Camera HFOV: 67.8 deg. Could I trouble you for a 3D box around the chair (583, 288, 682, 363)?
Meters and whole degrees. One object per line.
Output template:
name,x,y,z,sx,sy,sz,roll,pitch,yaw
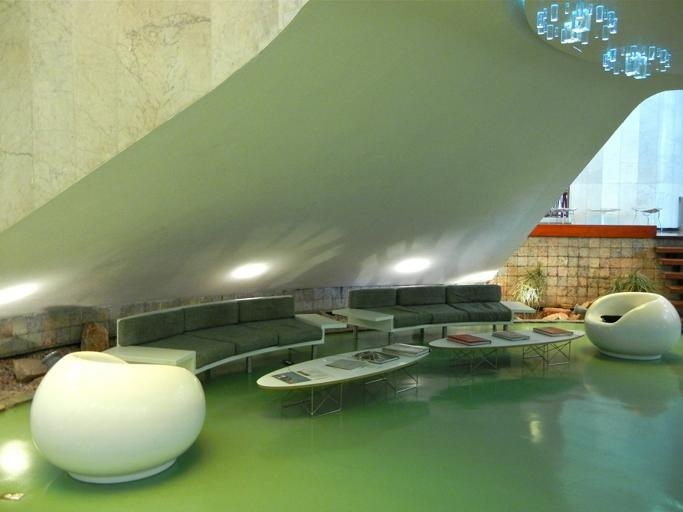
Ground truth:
chair,4.210,1.043,7.513,1.230,0.783,1.198,4,-3,-20

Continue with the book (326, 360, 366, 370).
book,0.042,1.234,5.775,0.392,0.029,0.330,5,9,34

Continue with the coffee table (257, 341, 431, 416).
coffee table,0.021,1.440,5.920,2.258,0.506,0.986,-5,9,-36

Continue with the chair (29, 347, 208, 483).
chair,-1.855,1.294,4.363,1.204,0.733,1.211,-3,1,-41

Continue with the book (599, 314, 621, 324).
book,4.121,0.965,7.781,0.184,0.056,0.170,-1,5,3
